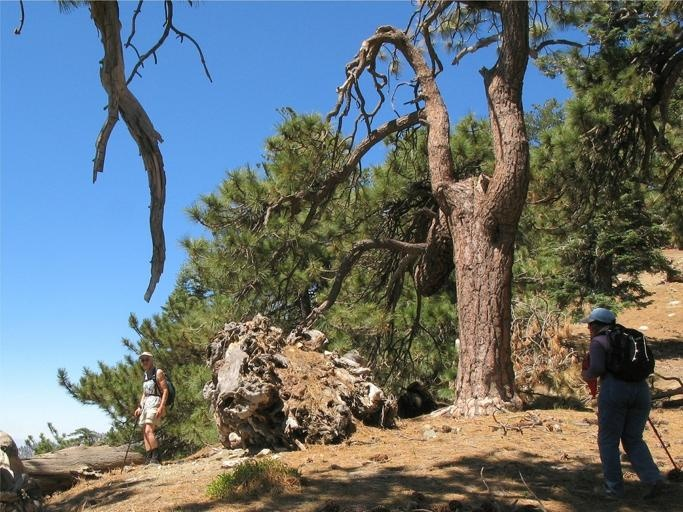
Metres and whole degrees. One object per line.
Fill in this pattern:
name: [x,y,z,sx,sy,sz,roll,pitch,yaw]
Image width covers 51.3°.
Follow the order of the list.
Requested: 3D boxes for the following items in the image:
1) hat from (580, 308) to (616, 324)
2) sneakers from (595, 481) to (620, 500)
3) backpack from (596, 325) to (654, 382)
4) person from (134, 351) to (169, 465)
hat: [3.745,0.905,10.375,0.328,0.209,0.256,-4,-8,32]
sneakers: [3.694,3.234,9.885,0.367,0.192,0.175,-3,3,23]
backpack: [4.082,1.375,10.115,0.520,0.798,0.415,1,0,-27]
person: [-3.664,2.880,13.761,0.650,2.090,1.442,-4,3,-18]
